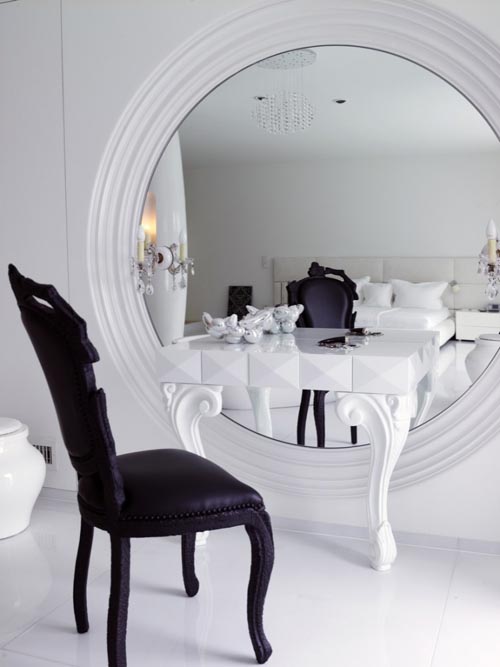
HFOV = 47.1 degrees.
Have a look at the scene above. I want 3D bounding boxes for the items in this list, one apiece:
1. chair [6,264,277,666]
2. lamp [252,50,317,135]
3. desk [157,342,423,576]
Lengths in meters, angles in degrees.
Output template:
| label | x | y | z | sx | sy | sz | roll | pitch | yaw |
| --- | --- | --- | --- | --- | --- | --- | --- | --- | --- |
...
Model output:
| label | x | y | z | sx | sy | sz | roll | pitch | yaw |
| --- | --- | --- | --- | --- | --- | --- | --- | --- | --- |
| chair | -0.325 | 0.201 | 2.054 | 0.962 | 1.558 | 0.841 | -4 | 6 | -23 |
| lamp | 0.149 | -0.964 | 2.327 | 0.282 | 0.296 | 0.268 | 0 | 13 | 1 |
| desk | 0.191 | 0.191 | 2.058 | 0.965 | 0.726 | 0.769 | 0 | 2 | 18 |
